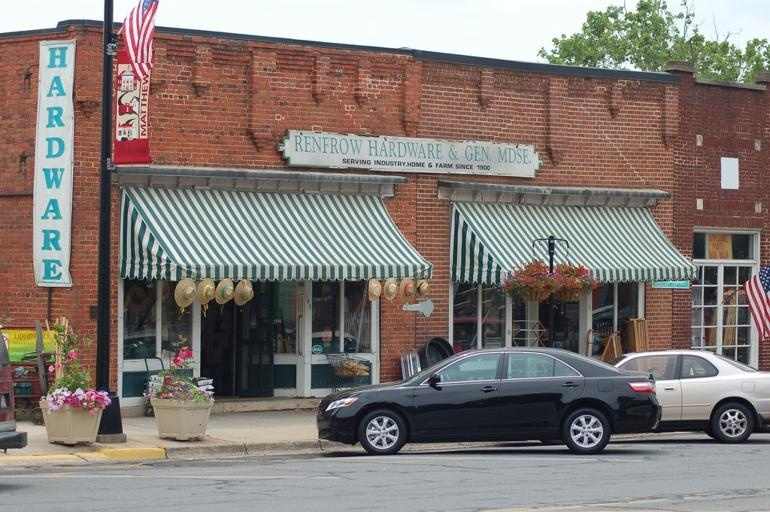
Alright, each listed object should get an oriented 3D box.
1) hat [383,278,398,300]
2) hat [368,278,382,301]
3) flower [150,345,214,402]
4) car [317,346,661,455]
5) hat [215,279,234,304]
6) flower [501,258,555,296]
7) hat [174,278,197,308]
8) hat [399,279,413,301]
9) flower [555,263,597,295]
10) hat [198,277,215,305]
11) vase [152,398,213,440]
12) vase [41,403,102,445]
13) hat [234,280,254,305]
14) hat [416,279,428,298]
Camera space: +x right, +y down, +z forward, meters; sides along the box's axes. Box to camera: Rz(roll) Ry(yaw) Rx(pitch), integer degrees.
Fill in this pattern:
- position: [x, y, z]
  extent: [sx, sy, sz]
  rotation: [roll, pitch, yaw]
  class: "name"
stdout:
- position: [0.103, 0.855, 37.403]
  extent: [0.394, 0.516, 0.640]
  rotation: [-2, -7, 0]
  class: "hat"
- position: [-0.306, 0.881, 37.126]
  extent: [0.136, 0.452, 0.402]
  rotation: [10, 16, 42]
  class: "hat"
- position: [-4.397, 2.679, 33.002]
  extent: [1.306, 1.305, 0.895]
  rotation: [1, 9, -45]
  class: "flower"
- position: [2.194, 3.216, 32.414]
  extent: [6.542, 1.895, 2.701]
  rotation: [1, -8, -2]
  class: "car"
- position: [-3.750, 0.855, 35.337]
  extent: [0.530, 0.521, 0.155]
  rotation: [-14, 26, -41]
  class: "hat"
- position: [3.383, 0.592, 35.987]
  extent: [0.720, 0.908, 1.321]
  rotation: [3, -9, -30]
  class: "flower"
- position: [-4.629, 0.886, 34.944]
  extent: [0.176, 0.609, 0.611]
  rotation: [12, 12, 42]
  class: "hat"
- position: [0.489, 0.901, 37.434]
  extent: [0.119, 0.429, 0.433]
  rotation: [13, 40, 43]
  class: "hat"
- position: [4.373, 0.620, 35.649]
  extent: [0.810, 0.555, 0.789]
  rotation: [1, -5, -12]
  class: "flower"
- position: [-4.145, 0.864, 35.060]
  extent: [0.150, 0.520, 0.501]
  rotation: [12, 36, 41]
  class: "hat"
- position: [-4.350, 3.543, 32.708]
  extent: [1.029, 0.796, 1.172]
  rotation: [-7, -11, 32]
  class: "vase"
- position: [-6.500, 3.570, 31.657]
  extent: [0.900, 0.825, 1.124]
  rotation: [-5, -7, 40]
  class: "vase"
- position: [-3.363, 0.895, 35.637]
  extent: [0.162, 0.541, 0.553]
  rotation: [21, 20, 40]
  class: "hat"
- position: [0.886, 0.856, 37.616]
  extent: [0.149, 0.395, 0.408]
  rotation: [13, 20, 37]
  class: "hat"
